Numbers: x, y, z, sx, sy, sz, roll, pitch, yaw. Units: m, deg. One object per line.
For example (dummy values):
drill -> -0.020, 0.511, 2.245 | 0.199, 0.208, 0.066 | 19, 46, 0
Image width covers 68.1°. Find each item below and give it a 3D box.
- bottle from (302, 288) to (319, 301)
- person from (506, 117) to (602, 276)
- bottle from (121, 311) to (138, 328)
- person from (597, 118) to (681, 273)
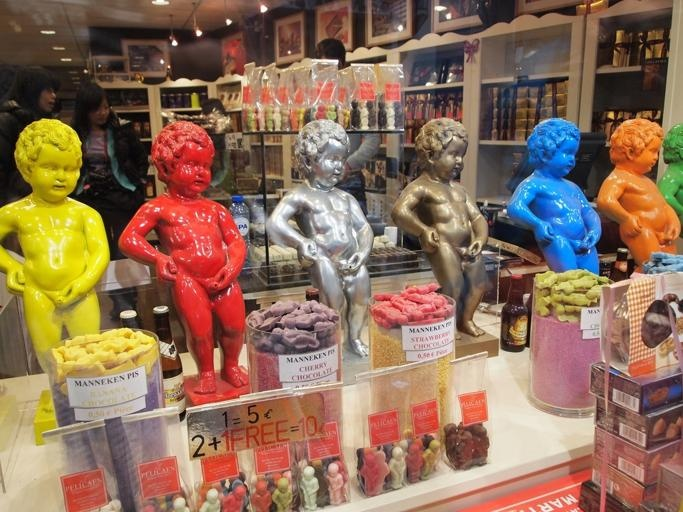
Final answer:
bottle -> -0.113, 0.146, 1.846 | 0.048, 0.055, 0.049 | 1, 6, 26
person -> 0.976, -0.244, 2.309 | 0.369, 0.740, 0.352 | 0, 12, 28
bottle -> -0.676, 0.204, 1.612 | 0.042, 0.069, 0.043 | 2, 22, -1
person -> 1.506, -0.310, 2.550 | 0.450, 0.742, 0.277 | -13, 13, -36
